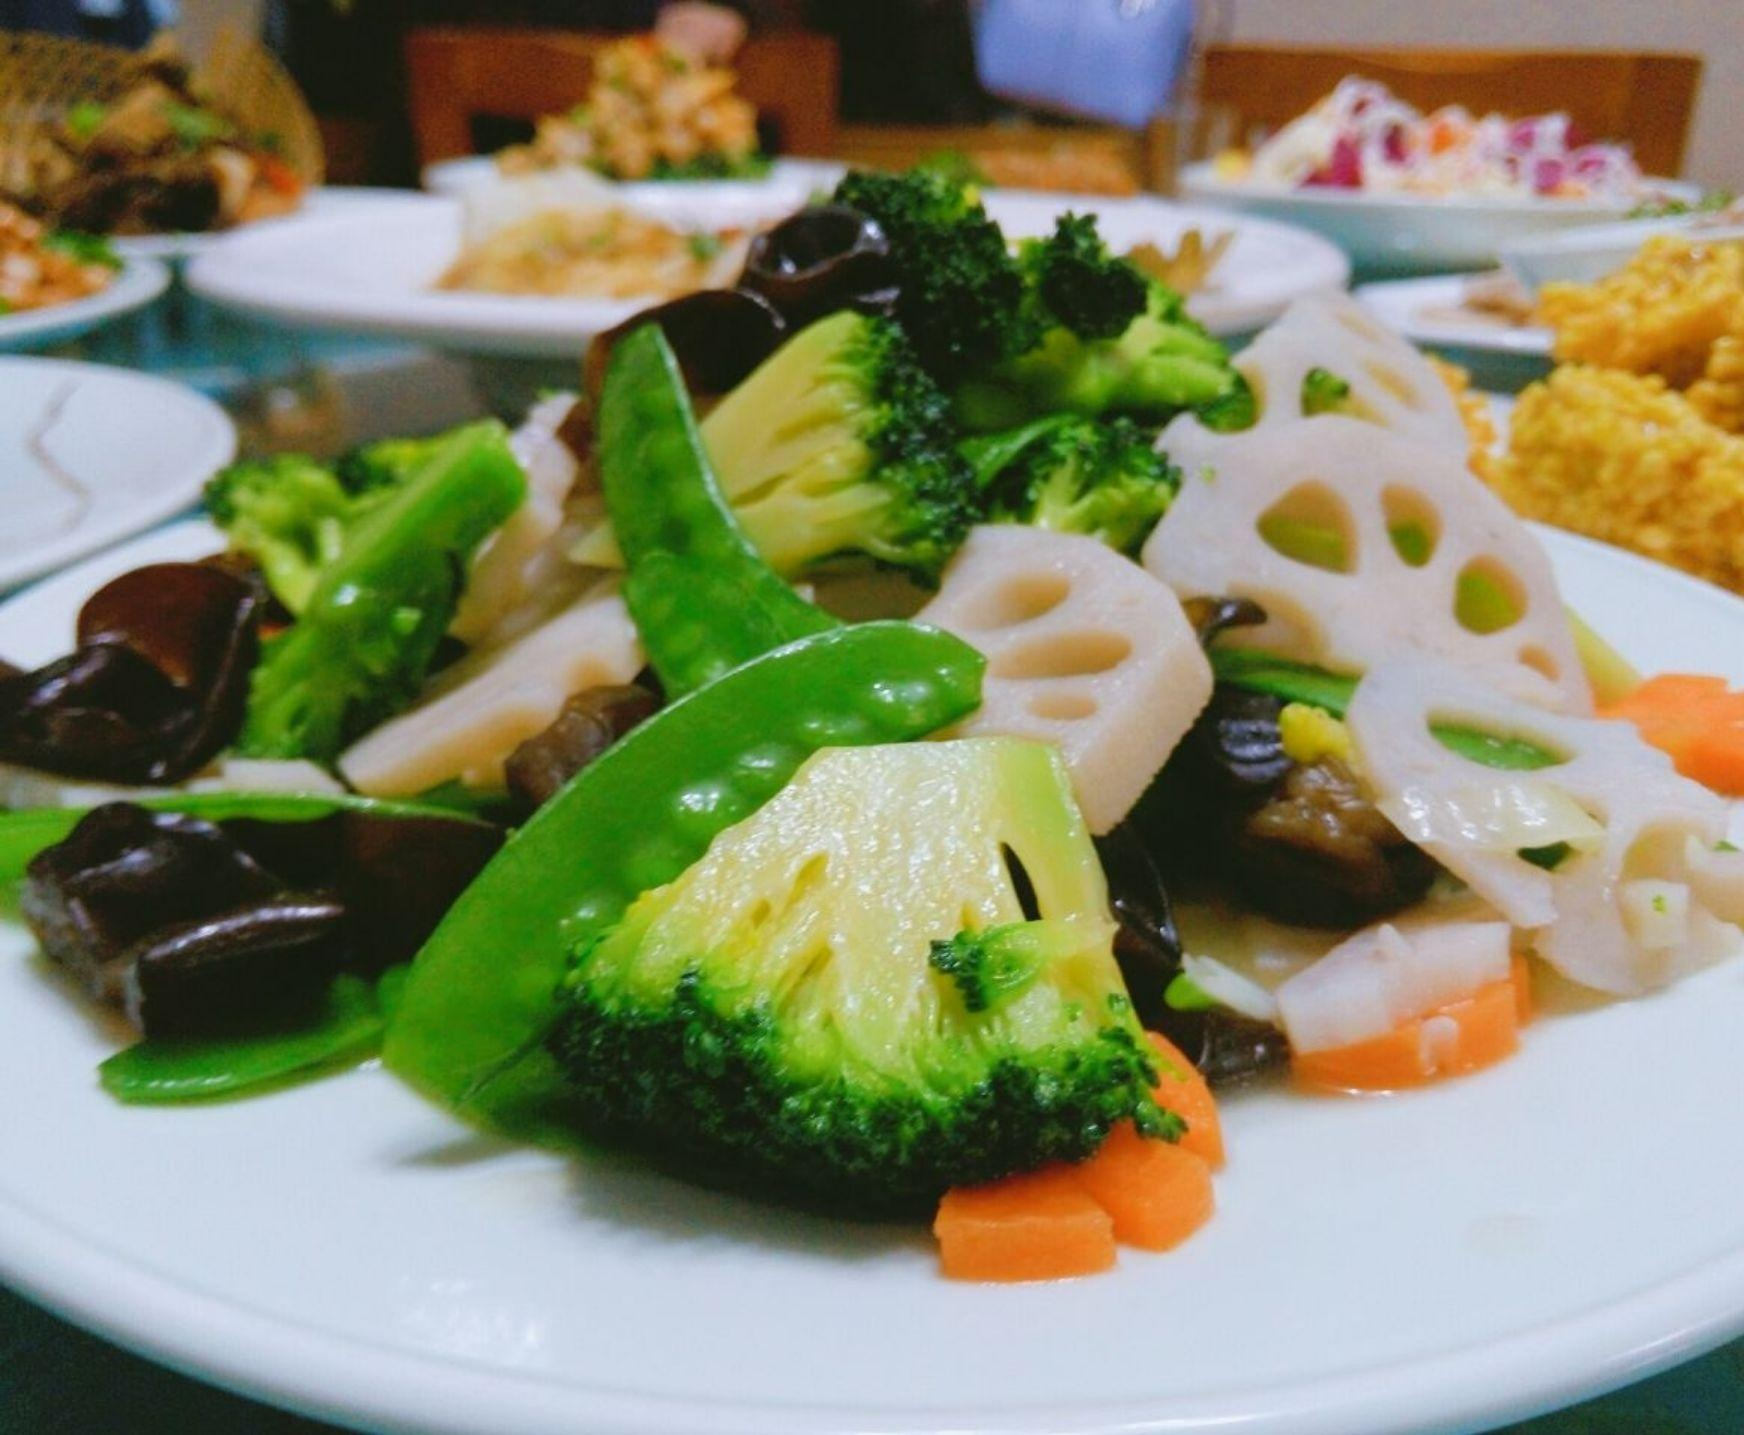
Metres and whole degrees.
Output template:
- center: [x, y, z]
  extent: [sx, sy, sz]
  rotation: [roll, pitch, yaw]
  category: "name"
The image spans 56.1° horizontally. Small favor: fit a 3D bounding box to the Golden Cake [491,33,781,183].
- center: [-0.605, -1.571, 4.241]
  extent: [0.706, 0.233, 0.637]
  rotation: [16, 42, 34]
  category: "Golden Cake"
